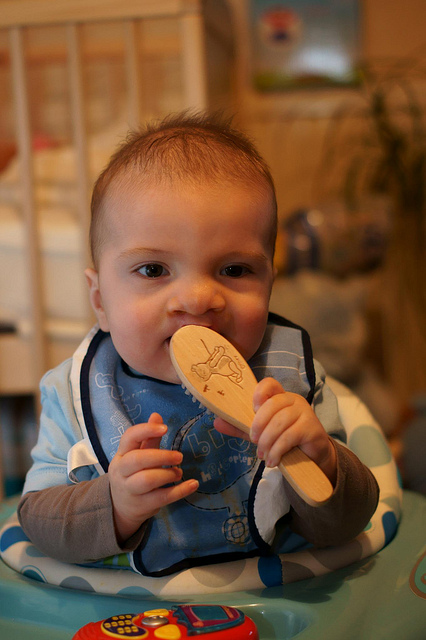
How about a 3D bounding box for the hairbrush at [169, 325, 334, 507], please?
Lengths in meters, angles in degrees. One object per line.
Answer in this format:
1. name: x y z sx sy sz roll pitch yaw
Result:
1. hairbrush: 0.003 0.061 0.568 0.080 0.020 0.256 -24 59 -31
